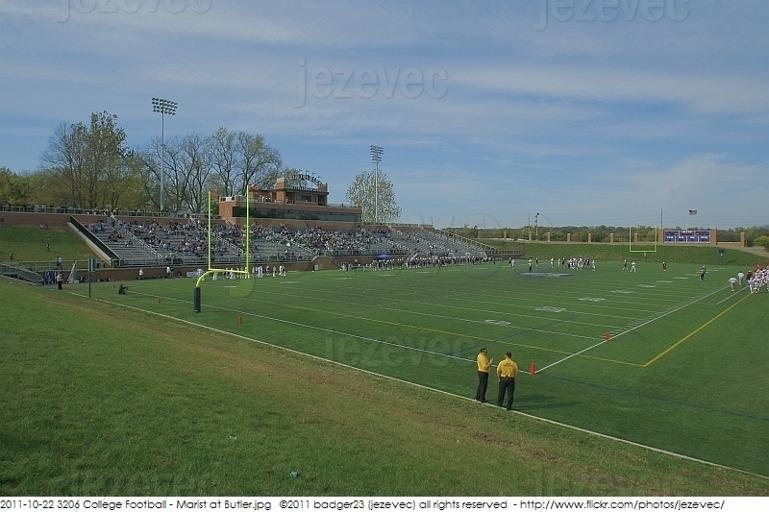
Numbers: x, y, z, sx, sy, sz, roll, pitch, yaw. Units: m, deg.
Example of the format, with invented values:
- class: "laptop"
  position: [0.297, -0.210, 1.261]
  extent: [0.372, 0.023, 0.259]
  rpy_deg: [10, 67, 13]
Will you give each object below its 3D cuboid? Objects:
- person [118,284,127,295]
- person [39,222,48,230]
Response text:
- class: "person"
  position: [-16.779, 2.057, 38.571]
  extent: [0.601, 0.676, 0.410]
  rpy_deg: [-9, 18, -39]
- class: "person"
  position: [-31.516, -2.905, 55.655]
  extent: [0.601, 0.247, 0.748]
  rpy_deg: [1, 12, -30]
